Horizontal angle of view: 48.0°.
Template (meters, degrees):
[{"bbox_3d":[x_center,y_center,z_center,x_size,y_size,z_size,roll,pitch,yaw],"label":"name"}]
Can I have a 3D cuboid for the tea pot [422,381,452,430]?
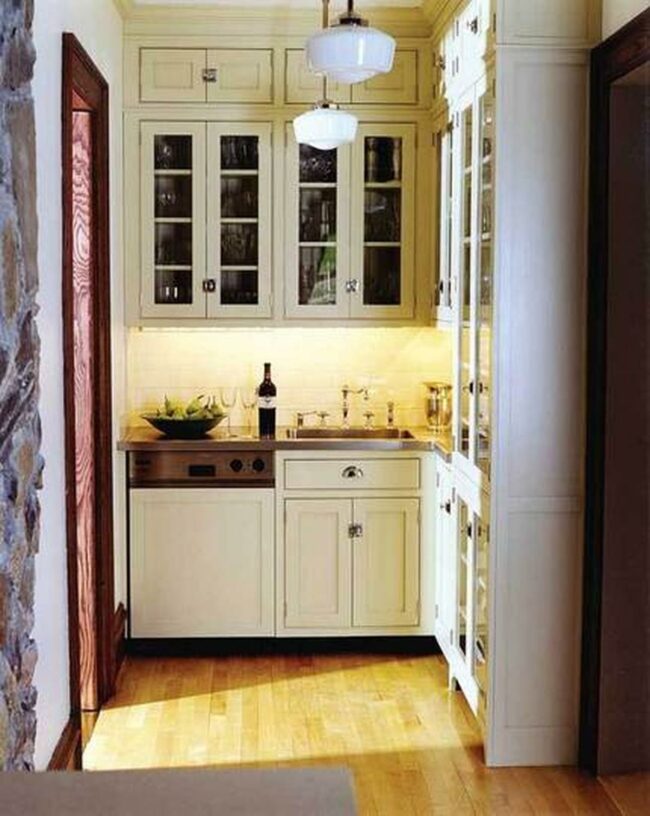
[{"bbox_3d":[0.560,-0.016,3.615,0.157,0.287,0.143,2,-3,3],"label":"tea pot"}]

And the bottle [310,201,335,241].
[{"bbox_3d":[-0.014,-0.862,3.432,0.116,0.257,0.139,0,3,-8],"label":"bottle"}]

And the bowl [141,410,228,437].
[{"bbox_3d":[-0.654,0.081,3.428,0.323,0.108,0.257,1,4,28],"label":"bowl"}]
